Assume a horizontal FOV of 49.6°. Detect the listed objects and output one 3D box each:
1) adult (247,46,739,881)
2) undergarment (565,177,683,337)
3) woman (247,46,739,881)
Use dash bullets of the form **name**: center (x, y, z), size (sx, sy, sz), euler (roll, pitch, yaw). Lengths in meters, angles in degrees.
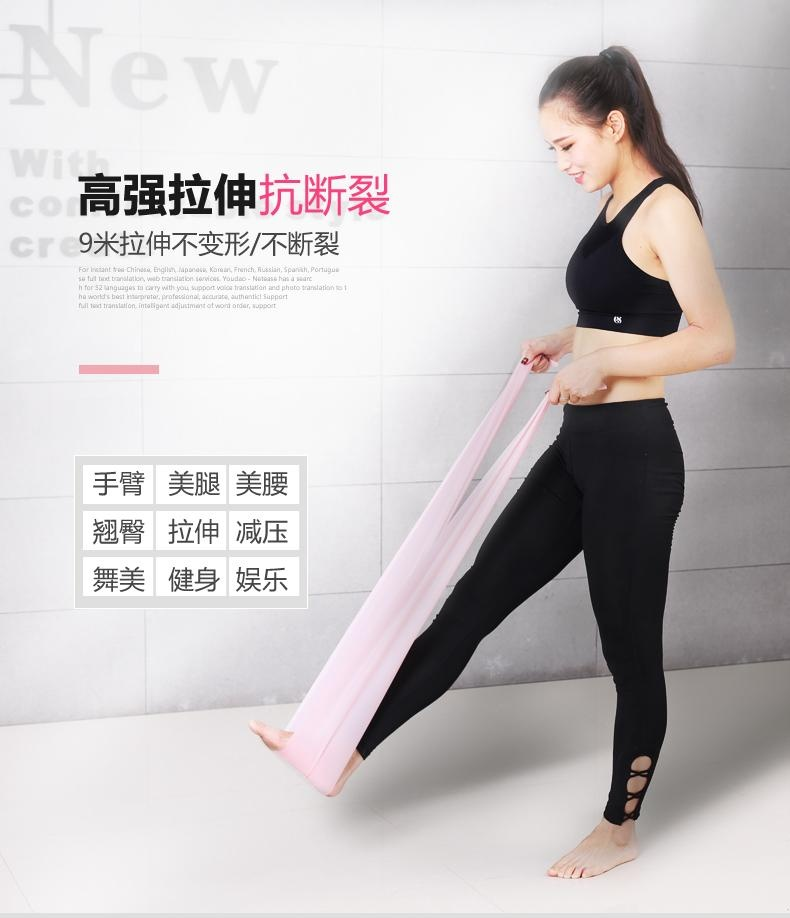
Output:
- **adult**: center (0.295, -0.002, 1.613), size (0.600, 1.515, 0.317), euler (4, 9, 18)
- **undergarment**: center (0.450, -0.381, 1.609), size (0.243, 0.280, 0.240), euler (-3, 16, -14)
- **woman**: center (0.295, -0.002, 1.613), size (0.600, 1.515, 0.317), euler (4, 9, 18)
